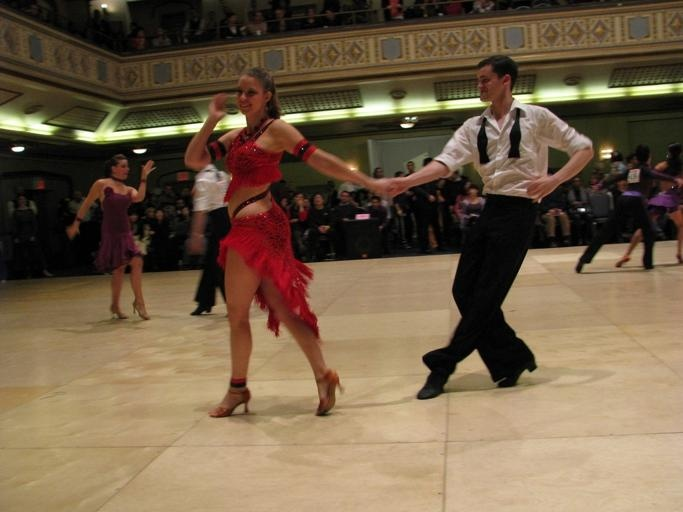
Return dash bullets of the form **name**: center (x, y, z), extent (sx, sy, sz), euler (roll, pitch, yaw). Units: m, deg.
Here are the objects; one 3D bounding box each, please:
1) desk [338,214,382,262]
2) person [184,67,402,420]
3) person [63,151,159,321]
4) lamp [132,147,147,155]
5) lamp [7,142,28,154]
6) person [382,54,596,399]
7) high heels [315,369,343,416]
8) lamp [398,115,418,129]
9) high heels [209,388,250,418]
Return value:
- **desk**: center (0.438, -0.364, 12.418), extent (1.219, 0.787, 0.984), euler (0, 0, 2)
- **person**: center (-0.408, -0.079, 3.398), extent (1.026, 2.112, 0.493), euler (-3, 7, -4)
- **person**: center (-2.765, -0.220, 6.855), extent (0.978, 2.075, 1.249), euler (-4, 7, -16)
- **lamp**: center (-6.207, -3.266, 17.249), extent (0.456, 0.188, 0.383), euler (-5, 9, -19)
- **lamp**: center (-8.756, -2.901, 14.868), extent (0.539, 0.136, 0.436), euler (-1, -3, -6)
- **person**: center (0.975, -0.214, 3.564), extent (1.194, 2.165, 0.463), euler (-3, 7, -6)
- **high heels**: center (-0.069, 0.831, 3.388), extent (0.165, 0.264, 0.107), euler (-7, -16, 2)
- **lamp**: center (1.918, -3.823, 16.040), extent (0.496, 0.217, 0.342), euler (-4, 19, -1)
- **high heels**: center (-0.739, 0.898, 3.390), extent (0.353, 0.157, 0.128), euler (1, -3, -9)
